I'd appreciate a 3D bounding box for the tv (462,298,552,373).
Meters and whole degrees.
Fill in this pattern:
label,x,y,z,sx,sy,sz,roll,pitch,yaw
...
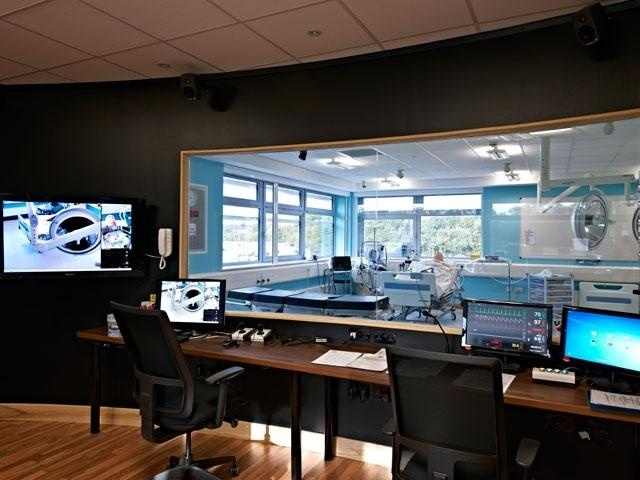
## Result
label,x,y,z,sx,sy,sz,roll,pitch,yaw
tv,1.243,0.629,3.101,0.482,0.337,0.155,2,0,18

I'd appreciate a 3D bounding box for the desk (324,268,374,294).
label,x,y,z,sx,sy,sz,roll,pitch,yaw
desk,0.257,0.380,4.277,0.357,0.334,0.259,-2,-3,31

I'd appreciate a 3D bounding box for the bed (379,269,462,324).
label,x,y,z,sx,sy,sz,roll,pitch,yaw
bed,0.808,0.433,3.943,0.630,0.311,0.861,3,10,15

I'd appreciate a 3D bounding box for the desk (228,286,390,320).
label,x,y,z,sx,sy,sz,roll,pitch,yaw
desk,-0.129,0.522,4.061,1.428,0.210,0.335,3,10,18

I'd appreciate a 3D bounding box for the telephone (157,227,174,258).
label,x,y,z,sx,sy,sz,roll,pitch,yaw
telephone,-1.364,0.025,4.111,0.136,0.257,0.121,-2,10,-13
